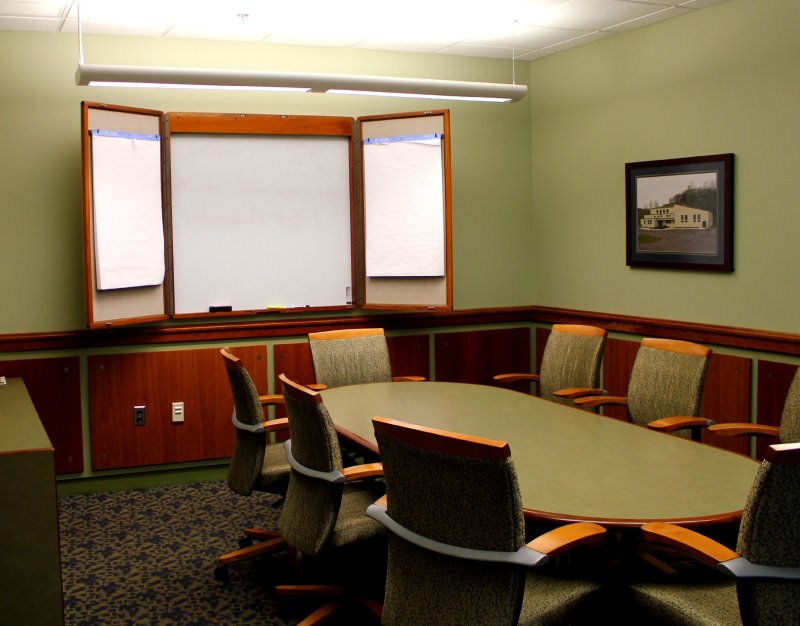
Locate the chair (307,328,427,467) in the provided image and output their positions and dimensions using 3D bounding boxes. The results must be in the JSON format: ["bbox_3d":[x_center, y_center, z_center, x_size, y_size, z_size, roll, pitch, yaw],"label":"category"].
[{"bbox_3d":[-0.501,0.650,5.280,1.034,1.420,0.985,-1,-1,-24],"label":"chair"}]

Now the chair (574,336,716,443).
[{"bbox_3d":[1.594,0.437,4.059,0.643,0.918,0.718,2,-1,-33],"label":"chair"}]

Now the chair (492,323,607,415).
[{"bbox_3d":[1.231,0.368,4.864,0.668,0.962,0.663,0,1,-34],"label":"chair"}]

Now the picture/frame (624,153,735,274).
[{"bbox_3d":[2.396,-0.855,5.137,0.077,1.022,1.039,-3,5,-31],"label":"picture/frame"}]

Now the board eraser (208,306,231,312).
[{"bbox_3d":[-1.632,-0.037,5.528,0.198,0.058,0.031,0,5,-23],"label":"board eraser"}]

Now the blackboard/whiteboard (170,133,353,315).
[{"bbox_3d":[-1.350,-0.852,5.587,1.627,1.614,0.123,-1,0,-20],"label":"blackboard/whiteboard"}]

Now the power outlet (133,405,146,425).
[{"bbox_3d":[-2.281,0.896,5.324,0.101,0.173,0.020,-1,5,-26],"label":"power outlet"}]
